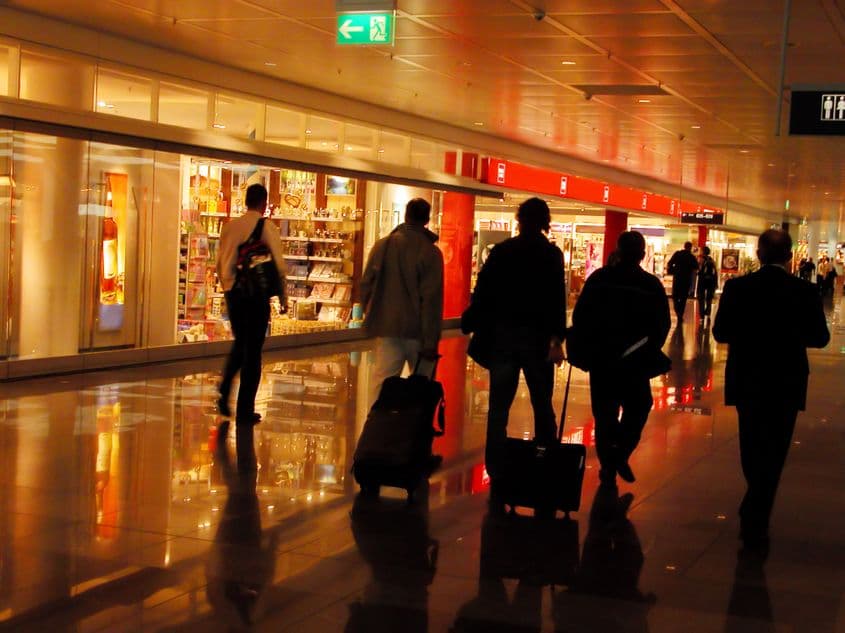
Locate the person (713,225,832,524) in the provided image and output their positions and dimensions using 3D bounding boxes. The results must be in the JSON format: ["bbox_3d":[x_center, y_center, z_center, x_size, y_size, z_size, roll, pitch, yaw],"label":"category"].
[{"bbox_3d":[2.138,0.322,4.650,0.678,1.701,0.593,3,5,10],"label":"person"}]

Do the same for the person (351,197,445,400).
[{"bbox_3d":[-0.154,-0.195,5.516,0.613,1.317,0.473,2,5,-2],"label":"person"}]
